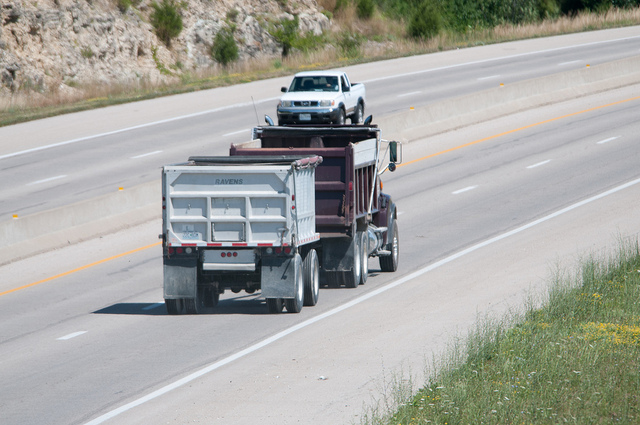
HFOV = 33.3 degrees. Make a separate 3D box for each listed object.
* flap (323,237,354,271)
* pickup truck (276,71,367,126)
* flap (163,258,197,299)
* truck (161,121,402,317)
[{"bbox_3d":[0.693,1.285,32.073,1.185,1.122,1.308,-3,-5,13],"label":"flap"},{"bbox_3d":[0.100,-4.918,47.083,2.758,2.626,6.352,0,9,14],"label":"pickup truck"},{"bbox_3d":[-3.891,1.893,29.989,0.936,1.228,0.122,0,-3,1],"label":"flap"},{"bbox_3d":[-0.697,0.193,32.288,4.255,3.908,7.385,1,11,25],"label":"truck"}]
